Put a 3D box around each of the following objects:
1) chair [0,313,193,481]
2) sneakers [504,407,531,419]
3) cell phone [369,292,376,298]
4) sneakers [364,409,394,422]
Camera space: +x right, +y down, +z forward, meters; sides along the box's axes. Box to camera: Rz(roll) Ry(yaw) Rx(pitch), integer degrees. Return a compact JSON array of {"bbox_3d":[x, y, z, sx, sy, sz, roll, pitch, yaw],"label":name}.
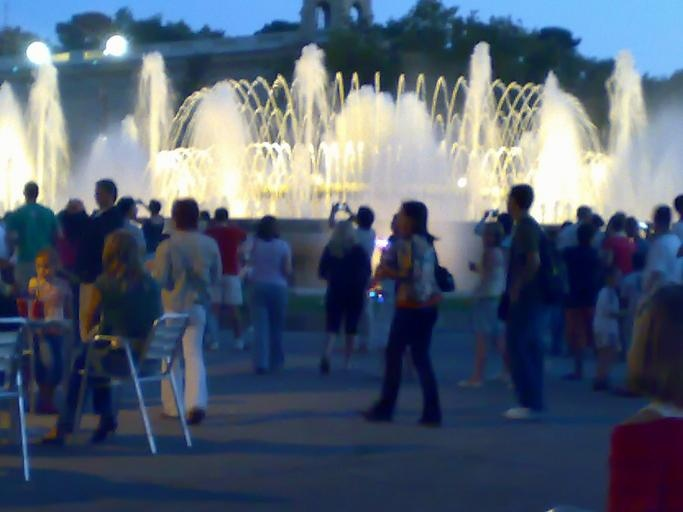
[{"bbox_3d":[-2.533,1.164,10.221,1.870,1.446,1.166,1,-7,11],"label":"chair"},{"bbox_3d":[1.903,1.681,11.337,0.283,0.141,0.114,2,0,10],"label":"sneakers"},{"bbox_3d":[0.483,0.579,15.774,0.064,0.096,0.124,-2,-1,21],"label":"cell phone"},{"bbox_3d":[0.403,1.654,11.153,0.222,0.107,0.137,8,-1,6],"label":"sneakers"}]
